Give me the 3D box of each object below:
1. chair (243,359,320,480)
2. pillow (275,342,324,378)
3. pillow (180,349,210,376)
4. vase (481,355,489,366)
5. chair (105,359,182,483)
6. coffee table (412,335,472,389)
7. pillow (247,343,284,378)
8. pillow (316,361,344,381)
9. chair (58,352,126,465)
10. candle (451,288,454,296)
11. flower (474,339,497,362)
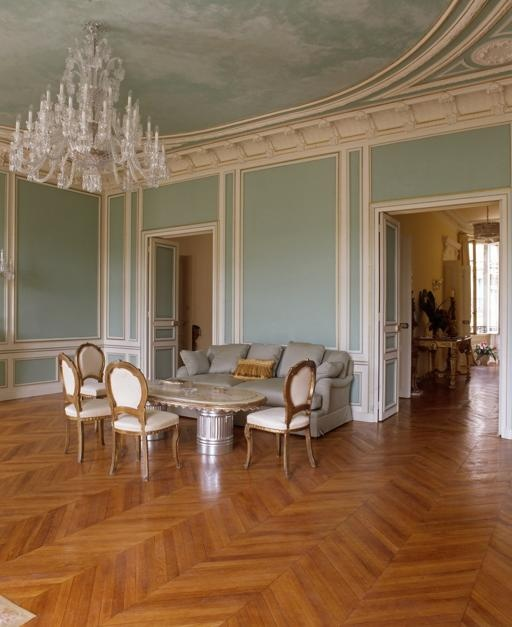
[{"bbox_3d":[0.214,0.785,3.965,0.515,0.817,0.514,1,1,23],"label":"chair"},{"bbox_3d":[0.477,0.532,5.612,0.419,0.414,0.170,-4,-17,41],"label":"pillow"},{"bbox_3d":[-0.776,0.599,6.216,0.097,0.306,0.326,-34,-18,28],"label":"pillow"},{"bbox_3d":[5.557,1.138,12.200,0.218,0.230,0.228,3,3,23],"label":"vase"},{"bbox_3d":[-0.901,0.768,3.811,0.561,0.844,0.463,1,1,26],"label":"chair"},{"bbox_3d":[3.313,0.758,8.771,0.878,0.541,0.539,-14,-2,43],"label":"coffee table"},{"bbox_3d":[0.136,0.534,5.949,0.362,0.330,0.099,-2,-30,38],"label":"pillow"},{"bbox_3d":[0.751,0.592,5.251,0.244,0.168,0.454,0,0,23],"label":"pillow"},{"bbox_3d":[-1.285,0.592,4.136,0.415,0.661,0.397,2,2,-15],"label":"chair"},{"bbox_3d":[4.119,-0.449,10.511,0.060,0.141,0.036,0,1,16],"label":"candle"},{"bbox_3d":[5.498,0.910,12.121,0.621,0.419,0.610,-3,-3,35],"label":"flower"}]
